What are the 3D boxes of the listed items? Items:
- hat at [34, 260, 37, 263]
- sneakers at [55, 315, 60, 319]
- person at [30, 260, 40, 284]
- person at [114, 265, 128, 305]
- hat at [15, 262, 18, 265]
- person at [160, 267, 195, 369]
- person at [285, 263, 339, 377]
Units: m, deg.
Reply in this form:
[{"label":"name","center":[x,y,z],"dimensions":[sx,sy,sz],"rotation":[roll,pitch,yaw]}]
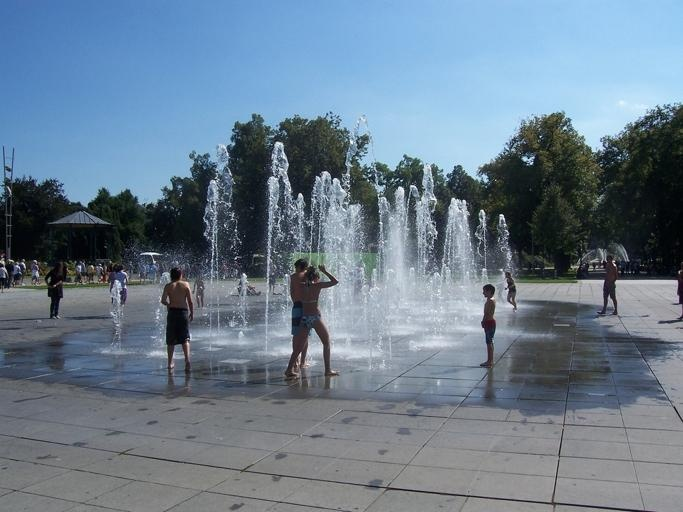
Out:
[{"label":"hat","center":[-21.786,0.292,42.125],"dimensions":[0.178,0.221,0.196],"rotation":[0,1,-1]},{"label":"sneakers","center":[-8.634,1.825,18.023],"dimensions":[0.086,0.119,0.264],"rotation":[1,-12,-25]},{"label":"person","center":[-19.473,0.979,37.703],"dimensions":[0.390,1.469,1.994],"rotation":[0,-1,-28]},{"label":"person","center":[-6.490,0.807,17.347],"dimensions":[0.317,1.201,1.330],"rotation":[0,-1,-21]},{"label":"hat","center":[-20.490,0.372,37.344],"dimensions":[0.120,0.124,0.125],"rotation":[-3,-9,28]},{"label":"person","center":[-2.842,1.045,10.213],"dimensions":[0.500,1.743,0.540],"rotation":[-1,-1,-17]},{"label":"person","center":[-0.500,1.026,10.027],"dimensions":[0.848,1.784,1.283],"rotation":[-1,-1,-1]}]
